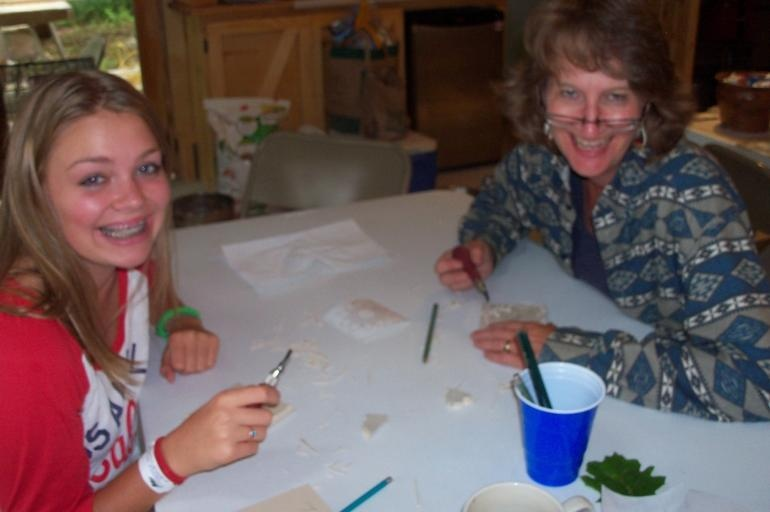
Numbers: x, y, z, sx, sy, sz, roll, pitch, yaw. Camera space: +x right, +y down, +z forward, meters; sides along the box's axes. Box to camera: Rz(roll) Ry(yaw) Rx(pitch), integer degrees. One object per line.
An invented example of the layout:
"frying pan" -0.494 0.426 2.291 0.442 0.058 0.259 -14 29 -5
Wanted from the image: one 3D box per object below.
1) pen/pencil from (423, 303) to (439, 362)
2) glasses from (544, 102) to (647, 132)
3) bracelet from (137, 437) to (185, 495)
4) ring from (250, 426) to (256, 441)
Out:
"pen/pencil" 0.136 0.196 1.586 0.023 0.023 0.217 -23 23 26
"glasses" 0.579 -0.394 1.663 0.182 0.086 0.223 10 21 38
"bracelet" -0.472 0.444 1.264 0.073 0.086 0.085 -16 27 -29
"ring" -0.274 0.374 1.266 0.016 0.020 0.009 2 4 -34
